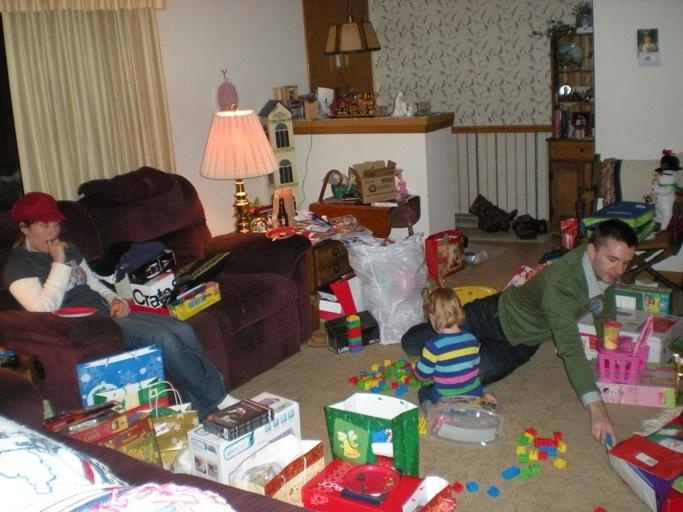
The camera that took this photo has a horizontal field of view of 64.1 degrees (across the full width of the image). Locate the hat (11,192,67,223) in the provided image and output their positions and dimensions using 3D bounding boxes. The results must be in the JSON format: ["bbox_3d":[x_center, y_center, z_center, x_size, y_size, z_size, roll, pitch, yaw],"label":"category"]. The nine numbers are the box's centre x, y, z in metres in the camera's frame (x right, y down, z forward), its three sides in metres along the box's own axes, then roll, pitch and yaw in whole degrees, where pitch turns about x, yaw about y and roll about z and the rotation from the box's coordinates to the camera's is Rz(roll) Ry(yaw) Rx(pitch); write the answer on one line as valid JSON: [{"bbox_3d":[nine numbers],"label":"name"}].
[{"bbox_3d":[-1.605,-0.254,2.908,0.226,0.110,0.160,-1,5,17],"label":"hat"}]

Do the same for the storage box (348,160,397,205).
[{"bbox_3d":[0.270,-0.683,4.742,0.408,0.288,0.373,-7,27,-7],"label":"storage box"}]

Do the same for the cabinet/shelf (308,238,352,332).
[{"bbox_3d":[-0.099,0.225,4.008,0.260,0.620,0.487,9,24,27],"label":"cabinet/shelf"}]

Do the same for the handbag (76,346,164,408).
[{"bbox_3d":[-1.052,0.580,2.616,0.376,0.221,0.076,-12,17,-29],"label":"handbag"}]

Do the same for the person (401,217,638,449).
[{"bbox_3d":[1.126,0.288,3.053,0.805,1.076,1.357,-12,17,-28],"label":"person"}]

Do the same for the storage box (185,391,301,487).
[{"bbox_3d":[-0.390,0.771,2.287,0.218,0.267,0.414,15,24,41],"label":"storage box"}]

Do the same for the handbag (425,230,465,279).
[{"bbox_3d":[0.978,-0.015,5.146,0.488,0.391,0.185,-14,16,-43],"label":"handbag"}]

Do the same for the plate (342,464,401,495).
[{"bbox_3d":[0.103,0.799,1.935,0.200,0.032,0.140,0,15,14],"label":"plate"}]

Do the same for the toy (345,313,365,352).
[{"bbox_3d":[0.087,0.533,3.852,0.114,0.223,0.186,-4,15,0],"label":"toy"}]

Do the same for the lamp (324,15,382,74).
[{"bbox_3d":[0.071,-2.085,5.247,0.574,0.463,0.585,8,24,24],"label":"lamp"}]

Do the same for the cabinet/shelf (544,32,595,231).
[{"bbox_3d":[2.590,-1.380,6.038,0.553,2.139,0.517,4,34,28],"label":"cabinet/shelf"}]

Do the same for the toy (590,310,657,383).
[{"bbox_3d":[1.576,0.472,3.074,0.312,0.390,0.414,1,3,25],"label":"toy"}]

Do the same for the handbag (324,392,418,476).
[{"bbox_3d":[0.123,0.722,2.181,0.391,0.288,0.225,3,11,25],"label":"handbag"}]
